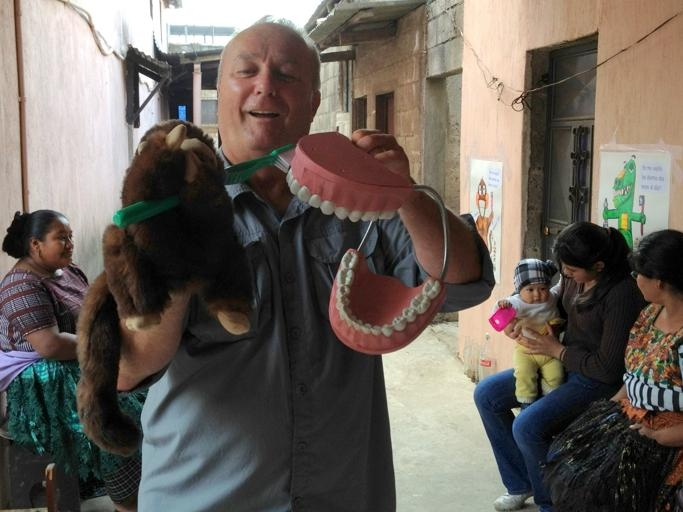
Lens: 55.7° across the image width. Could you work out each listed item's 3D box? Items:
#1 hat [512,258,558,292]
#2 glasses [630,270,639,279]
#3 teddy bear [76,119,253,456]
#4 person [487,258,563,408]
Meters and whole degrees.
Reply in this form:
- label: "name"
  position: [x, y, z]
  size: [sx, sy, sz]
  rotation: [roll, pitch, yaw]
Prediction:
- label: "hat"
  position: [1.256, 0.094, 4.199]
  size: [0.220, 0.183, 0.220]
  rotation: [7, 9, 42]
- label: "glasses"
  position: [1.560, 0.098, 3.433]
  size: [0.039, 0.043, 0.018]
  rotation: [3, 33, 23]
- label: "teddy bear"
  position: [-0.512, 0.103, 1.822]
  size: [0.492, 0.954, 0.246]
  rotation: [3, 7, 18]
- label: "person"
  position: [1.255, 0.539, 4.104]
  size: [0.523, 1.005, 0.370]
  rotation: [-10, 9, -13]
